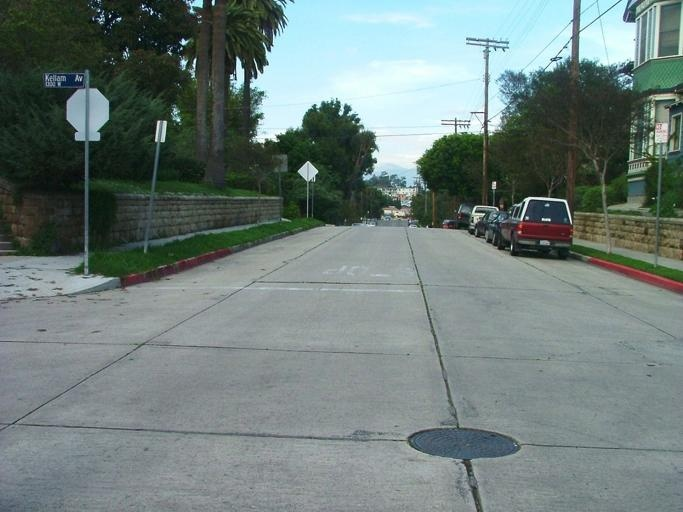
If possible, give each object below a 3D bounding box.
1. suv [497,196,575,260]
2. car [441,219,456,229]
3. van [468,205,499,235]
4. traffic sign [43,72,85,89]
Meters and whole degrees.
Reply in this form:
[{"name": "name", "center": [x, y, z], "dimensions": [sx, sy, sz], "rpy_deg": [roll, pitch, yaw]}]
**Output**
[{"name": "suv", "center": [7.069, -1.218, 25.831], "dimensions": [1.551, 1.561, 3.173], "rpy_deg": [1, 9, -4]}, {"name": "car", "center": [10.718, -3.061, 67.830], "dimensions": [1.256, 0.989, 2.812], "rpy_deg": [3, 9, 5]}, {"name": "van", "center": [8.226, -2.095, 40.199], "dimensions": [1.203, 1.170, 2.366], "rpy_deg": [0, 6, 2]}, {"name": "traffic sign", "center": [-6.458, -4.123, 16.009], "dimensions": [0.649, 0.271, 0.087], "rpy_deg": [0, 8, 10]}]
